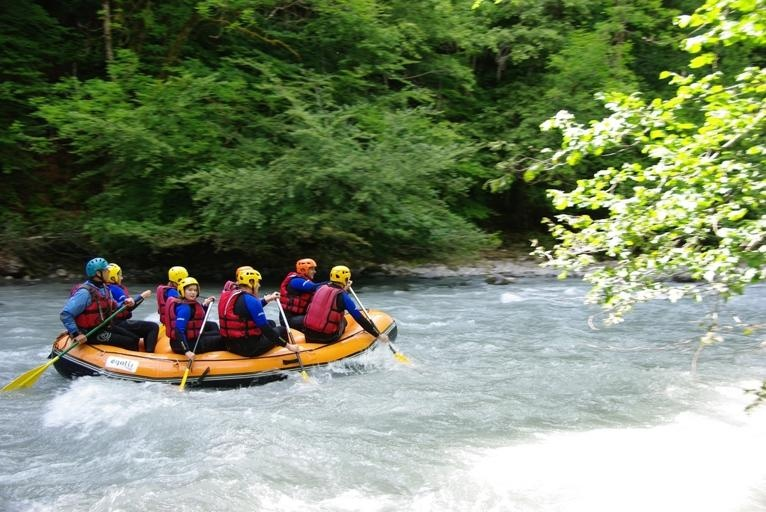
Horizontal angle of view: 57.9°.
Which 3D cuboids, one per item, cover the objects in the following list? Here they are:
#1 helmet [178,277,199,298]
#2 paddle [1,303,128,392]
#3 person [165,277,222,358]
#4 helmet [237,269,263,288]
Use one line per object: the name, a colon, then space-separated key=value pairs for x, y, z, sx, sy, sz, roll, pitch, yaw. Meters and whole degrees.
helmet: x=-3.399 y=0.550 z=11.910 sx=0.332 sy=0.348 sz=0.265 roll=5 pitch=6 yaw=-11
paddle: x=-5.761 y=1.722 z=12.499 sx=3.912 sy=0.307 sz=0.251 roll=-21 pitch=-18 yaw=-3
person: x=-3.252 y=1.071 z=12.023 sx=0.929 sy=1.398 sz=0.723 roll=2 pitch=9 yaw=-42
helmet: x=-2.347 y=0.384 z=11.899 sx=0.368 sy=0.311 sz=0.241 roll=5 pitch=6 yaw=-8
